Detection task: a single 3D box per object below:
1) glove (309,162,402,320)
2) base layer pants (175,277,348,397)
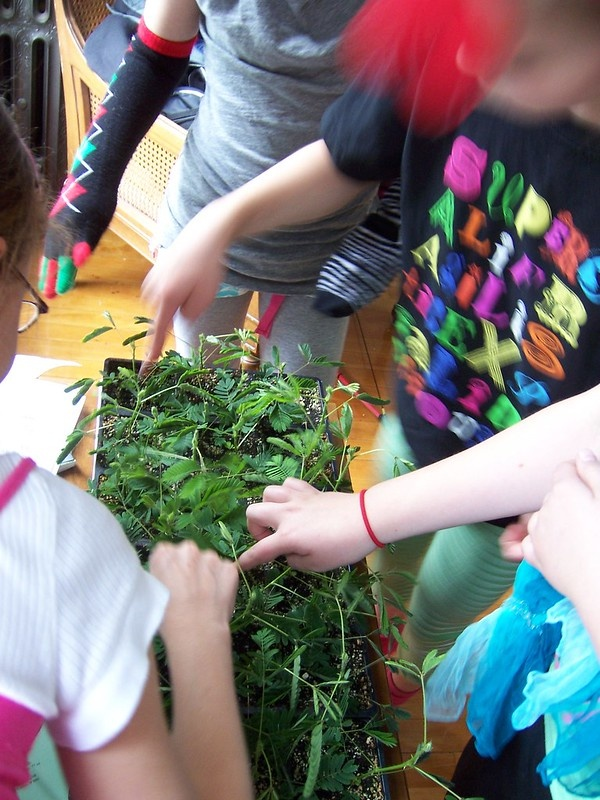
[{"bbox_3d":[0.104,-0.241,0.934,0.087,0.249,0.108,37,10,9],"label":"glove"},{"bbox_3d":[-0.061,-0.106,0.921,0.135,0.288,0.068,19,51,-7],"label":"base layer pants"}]
